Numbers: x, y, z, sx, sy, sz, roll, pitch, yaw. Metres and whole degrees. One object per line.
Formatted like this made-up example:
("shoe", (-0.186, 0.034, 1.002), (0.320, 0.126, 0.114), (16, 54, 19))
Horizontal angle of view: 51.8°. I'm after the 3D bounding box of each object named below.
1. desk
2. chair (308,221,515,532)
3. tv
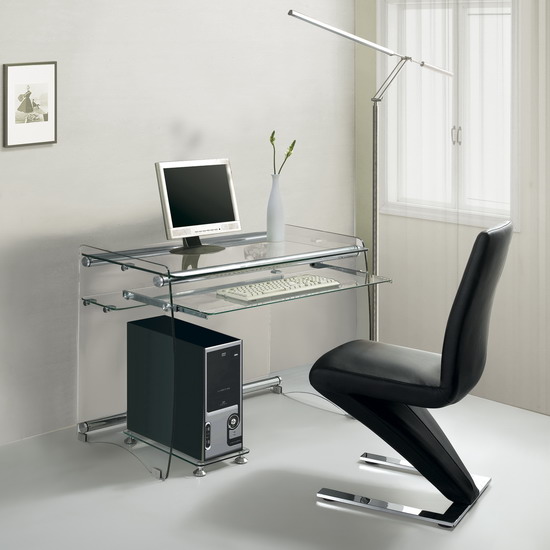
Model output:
("desk", (-0.121, 0.281, 2.274), (1.095, 0.729, 0.717), (-5, 9, -44))
("chair", (0.436, 0.290, 1.841), (0.553, 0.858, 0.430), (2, 3, 30))
("tv", (-0.326, -0.290, 2.337), (0.363, 0.354, 0.127), (-12, 12, -43))
